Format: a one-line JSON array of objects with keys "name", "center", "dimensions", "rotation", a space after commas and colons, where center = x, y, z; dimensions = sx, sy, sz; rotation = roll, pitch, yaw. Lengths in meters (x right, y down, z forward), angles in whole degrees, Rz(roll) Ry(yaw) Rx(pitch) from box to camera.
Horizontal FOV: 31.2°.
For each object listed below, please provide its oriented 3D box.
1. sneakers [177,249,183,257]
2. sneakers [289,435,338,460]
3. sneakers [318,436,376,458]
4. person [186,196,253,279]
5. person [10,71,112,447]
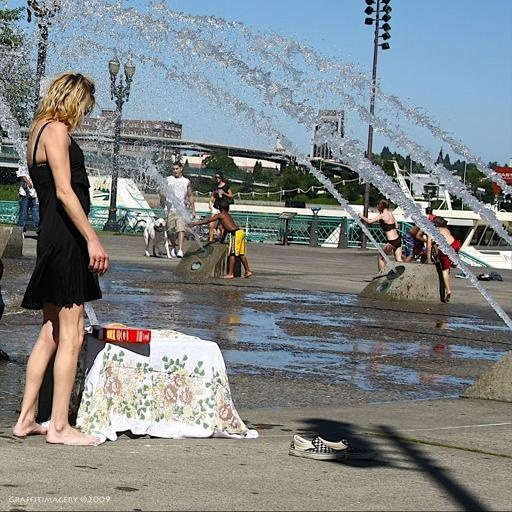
[{"name": "sneakers", "center": [-1.815, -0.045, 22.012], "dimensions": [0.154, 0.079, 0.289], "rotation": [-2, -5, -7]}, {"name": "sneakers", "center": [0.289, 0.974, 4.676], "dimensions": [0.202, 0.093, 0.102], "rotation": [2, 0, 9]}, {"name": "sneakers", "center": [0.486, 0.997, 4.715], "dimensions": [0.251, 0.087, 0.104], "rotation": [5, 9, 24]}, {"name": "person", "center": [-0.496, -0.231, 17.717], "dimensions": [0.882, 1.270, 1.250], "rotation": [-3, 15, -33]}, {"name": "person", "center": [-1.016, 0.028, 4.822], "dimensions": [0.454, 1.926, 0.810], "rotation": [2, 12, -14]}]
